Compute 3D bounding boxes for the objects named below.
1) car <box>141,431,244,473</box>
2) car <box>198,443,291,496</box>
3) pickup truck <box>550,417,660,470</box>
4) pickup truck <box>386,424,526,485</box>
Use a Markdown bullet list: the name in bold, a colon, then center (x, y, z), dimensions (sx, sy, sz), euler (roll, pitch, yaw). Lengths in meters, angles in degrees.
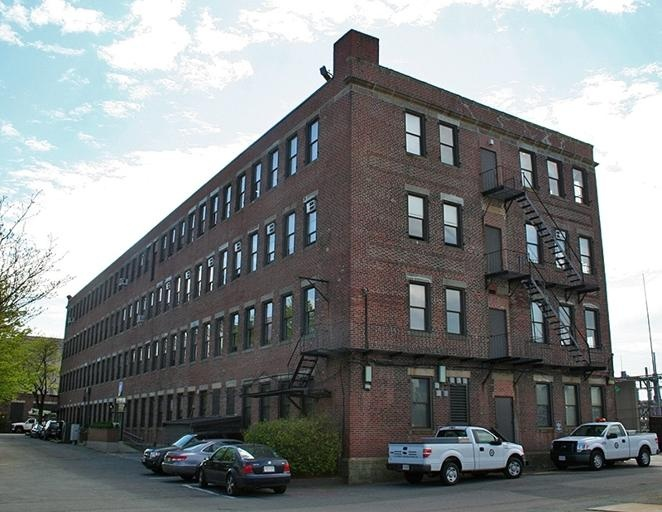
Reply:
- **car**: center (-5.728, 8.915, 28.811), dimensions (4.751, 1.319, 1.953), euler (-4, 1, 14)
- **car**: center (-3.631, 8.087, 23.350), dimensions (2.019, 1.748, 5.009), euler (18, -27, -37)
- **pickup truck**: center (13.053, 9.047, 29.591), dimensions (4.455, 2.268, 1.663), euler (8, -23, -18)
- **pickup truck**: center (5.208, 8.162, 25.335), dimensions (5.743, 2.309, 2.316), euler (15, -26, -33)
